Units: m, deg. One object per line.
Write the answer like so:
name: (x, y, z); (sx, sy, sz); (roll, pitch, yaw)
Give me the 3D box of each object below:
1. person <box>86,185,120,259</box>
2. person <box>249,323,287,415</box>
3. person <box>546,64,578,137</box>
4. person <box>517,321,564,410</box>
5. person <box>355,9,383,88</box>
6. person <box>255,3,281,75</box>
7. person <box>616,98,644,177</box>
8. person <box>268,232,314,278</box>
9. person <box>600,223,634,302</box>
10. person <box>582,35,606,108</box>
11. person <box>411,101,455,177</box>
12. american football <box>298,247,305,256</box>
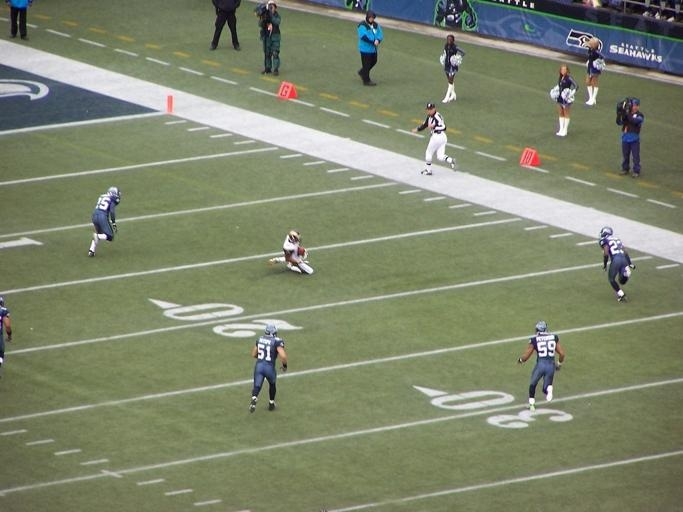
person: (-5.111, -0.773, 33.123); (0.709, 1.415, 0.798); (9, 19, 0)
person: (-1.309, 1.974, 28.499); (0.634, 1.615, 1.560); (8, 17, 0)
person: (5.771, -4.049, 38.973); (0.623, 1.751, 0.886); (-6, 12, -28)
person: (3.817, 2.052, 28.347); (0.772, 1.632, 0.575); (-2, 21, -31)
person: (0.867, -5.915, 42.811); (0.816, 2.044, 1.000); (-5, 16, -17)
person: (-1.964, -6.250, 43.185); (0.701, 2.117, 0.518); (13, 34, 21)
person: (6.993, -2.914, 36.699); (0.772, 1.807, 0.781); (6, 7, 37)
person: (-0.984, -0.162, 32.725); (0.963, 0.991, 0.888); (7, 17, -3)
person: (5.708, 0.105, 31.534); (0.717, 1.490, 0.857); (-17, 23, -41)
person: (7.023, -5.093, 41.551); (0.503, 1.945, 0.645); (-18, 30, -29)
person: (2.305, -2.845, 36.853); (1.286, 1.703, 0.791); (12, 13, 31)
american football: (-0.812, -0.111, 32.506); (0.103, 0.206, 0.180); (16, 19, 22)
